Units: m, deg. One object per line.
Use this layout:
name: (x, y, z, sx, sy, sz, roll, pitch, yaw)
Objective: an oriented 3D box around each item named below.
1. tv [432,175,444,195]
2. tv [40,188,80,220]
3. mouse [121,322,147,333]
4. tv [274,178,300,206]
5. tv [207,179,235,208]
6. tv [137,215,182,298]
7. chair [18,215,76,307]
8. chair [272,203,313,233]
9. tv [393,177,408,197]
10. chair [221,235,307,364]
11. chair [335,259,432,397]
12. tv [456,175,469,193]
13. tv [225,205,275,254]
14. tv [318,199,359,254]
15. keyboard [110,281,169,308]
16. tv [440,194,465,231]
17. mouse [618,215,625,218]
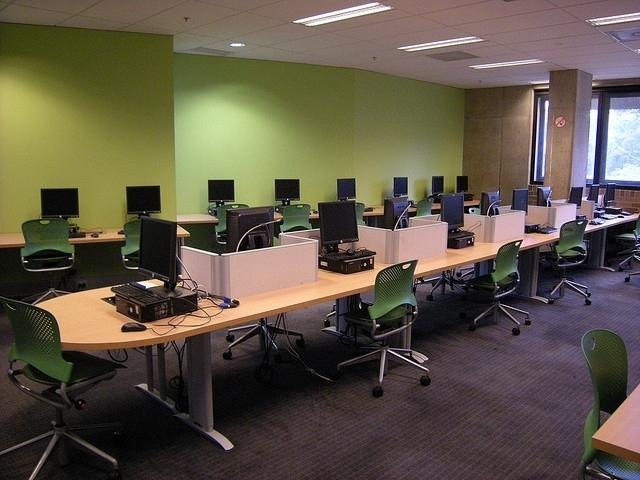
tv: (2.675, -1.247, 10.791, 0.195, 0.387, 0.418, 15, 19, 38)
tv: (-3.375, -0.474, 6.114, 0.494, 0.437, 0.171, -1, 2, -28)
mouse: (-1.218, 0.561, 3.078, 0.120, 0.029, 0.066, -3, 10, -26)
tv: (-0.614, -0.858, 8.368, 0.599, 0.527, 0.232, -1, 5, -19)
tv: (-1.647, -0.778, 7.770, 0.552, 0.488, 0.187, -2, 6, -26)
tv: (-1.133, 0.118, 3.500, 0.190, 0.539, 0.593, 3, 3, -42)
chair: (-3.320, 0.273, 5.850, 0.701, 0.964, 0.713, -7, -10, -2)
chair: (-0.440, -0.357, 7.467, 0.529, 0.605, 0.492, -4, 13, -19)
tv: (1.641, -1.103, 9.851, 0.463, 0.360, 0.093, -7, 11, -38)
chair: (-0.501, 0.513, 4.014, 0.973, 0.830, 0.626, -11, 12, -32)
chair: (0.517, 0.689, 4.195, 0.872, 1.007, 0.867, -1, 4, -6)
tv: (3.382, -1.340, 11.378, 0.306, 0.403, 0.547, 6, 15, 14)
tv: (-0.579, -0.047, 4.040, 0.491, 0.422, 0.175, -8, 14, -43)
tv: (0.166, -0.111, 4.569, 0.555, 0.498, 0.228, -9, 9, -39)
keyboard: (-1.286, 0.388, 3.364, 0.267, 0.057, 0.197, 16, 19, 41)
tv: (1.534, -0.322, 5.556, 0.483, 0.435, 0.169, -5, 5, -44)
mouse: (5.257, -0.414, 8.310, 0.081, 0.018, 0.076, -5, 14, -18)
